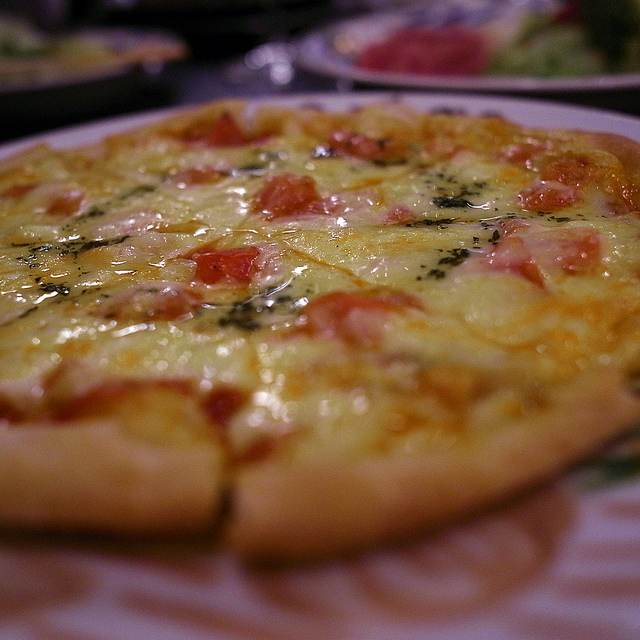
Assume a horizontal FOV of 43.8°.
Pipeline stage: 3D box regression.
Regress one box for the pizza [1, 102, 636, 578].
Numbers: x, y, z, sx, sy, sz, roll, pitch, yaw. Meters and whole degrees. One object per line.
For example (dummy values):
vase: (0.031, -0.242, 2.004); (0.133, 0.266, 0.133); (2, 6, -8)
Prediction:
pizza: (0.037, -0.063, 1.227); (1.106, 0.274, 0.948); (-9, 37, -12)
